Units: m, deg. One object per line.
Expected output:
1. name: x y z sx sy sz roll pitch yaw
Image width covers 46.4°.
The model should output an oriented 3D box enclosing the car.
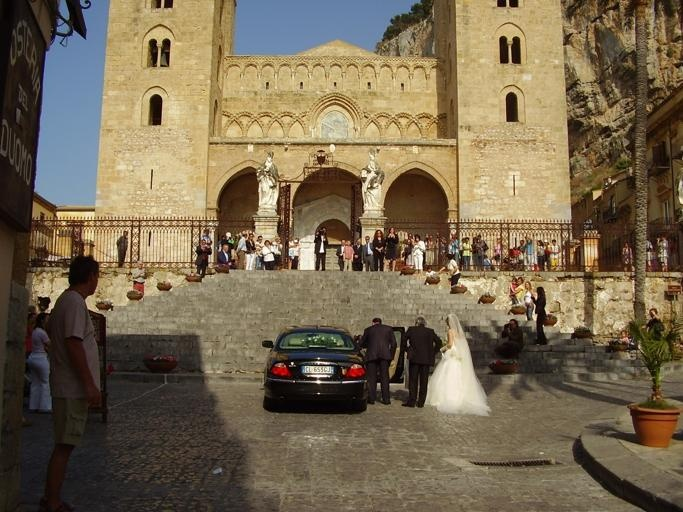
1. car: -0.116 2.117 14.531 1.449 1.188 3.392 0 0 -2

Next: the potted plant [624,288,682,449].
1. potted plant: 4.510 1.829 11.514 0.686 1.799 0.921 0 -5 21

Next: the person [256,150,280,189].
1. person: -2.741 -3.170 29.832 0.788 1.301 0.829 2 -5 -7

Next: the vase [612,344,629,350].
1. vase: 7.273 2.402 20.824 0.234 0.104 0.251 3 -8 5

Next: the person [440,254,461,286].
1. person: 3.664 0.479 26.583 0.557 1.122 1.414 1 -5 8

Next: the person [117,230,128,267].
1. person: -7.940 -0.256 28.829 0.324 1.383 1.898 3 -6 -17

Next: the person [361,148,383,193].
1. person: 1.192 -3.260 30.149 0.904 1.667 0.686 -2 -6 35

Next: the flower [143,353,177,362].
1. flower: -4.085 2.339 18.165 0.357 0.111 0.389 -7 -15 36

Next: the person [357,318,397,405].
1. person: 0.738 2.027 15.205 0.644 1.865 0.597 -2 -31 7

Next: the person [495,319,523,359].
1. person: 4.121 2.012 19.421 0.570 1.000 0.599 3 -4 35

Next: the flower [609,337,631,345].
1. flower: 8.098 2.480 23.122 0.626 0.235 0.668 1 -2 6
